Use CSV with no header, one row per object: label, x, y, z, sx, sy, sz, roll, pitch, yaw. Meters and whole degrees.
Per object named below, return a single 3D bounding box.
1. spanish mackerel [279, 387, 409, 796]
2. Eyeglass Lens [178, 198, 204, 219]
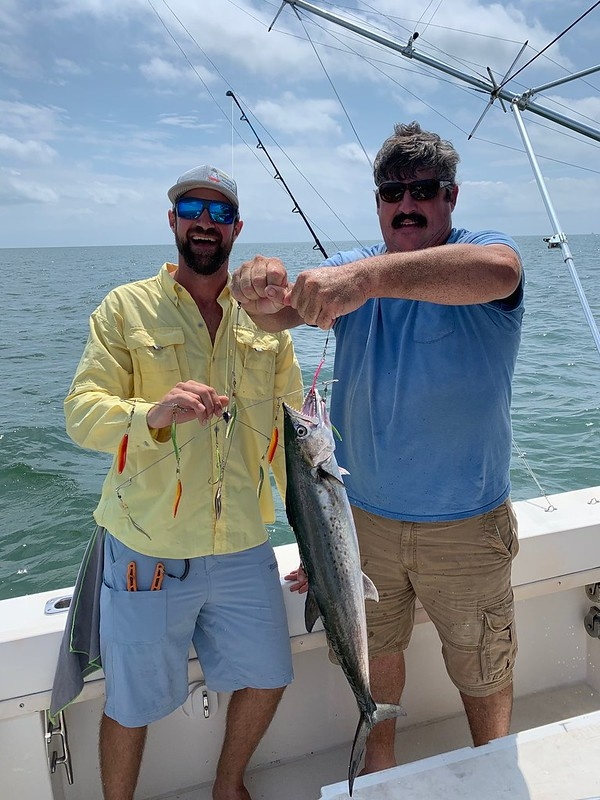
spanish mackerel,0.093,0.473,2.105,0.346,1.304,0.282,-11,3,-34
Eyeglass Lens,-0.415,-0.717,2.508,0.086,0.037,0.084,-1,13,-10
